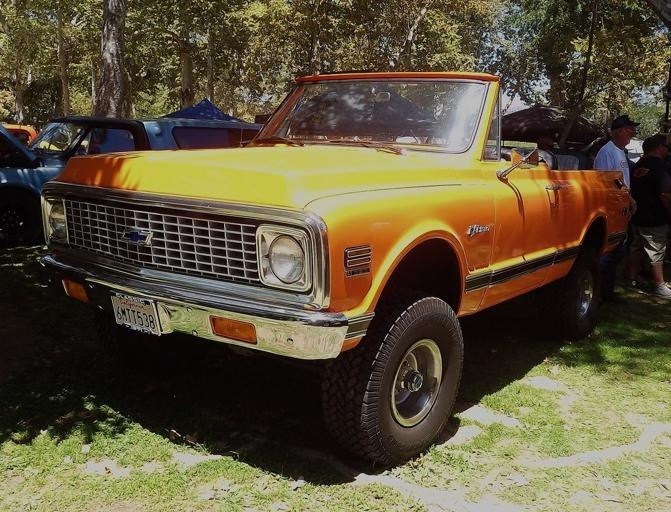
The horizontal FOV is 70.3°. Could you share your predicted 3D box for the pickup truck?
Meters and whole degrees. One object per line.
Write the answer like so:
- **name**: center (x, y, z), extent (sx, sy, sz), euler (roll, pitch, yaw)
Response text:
- **pickup truck**: center (0.779, -0.586, 4.876), extent (5.797, 2.117, 3.044), euler (-15, 24, -43)
